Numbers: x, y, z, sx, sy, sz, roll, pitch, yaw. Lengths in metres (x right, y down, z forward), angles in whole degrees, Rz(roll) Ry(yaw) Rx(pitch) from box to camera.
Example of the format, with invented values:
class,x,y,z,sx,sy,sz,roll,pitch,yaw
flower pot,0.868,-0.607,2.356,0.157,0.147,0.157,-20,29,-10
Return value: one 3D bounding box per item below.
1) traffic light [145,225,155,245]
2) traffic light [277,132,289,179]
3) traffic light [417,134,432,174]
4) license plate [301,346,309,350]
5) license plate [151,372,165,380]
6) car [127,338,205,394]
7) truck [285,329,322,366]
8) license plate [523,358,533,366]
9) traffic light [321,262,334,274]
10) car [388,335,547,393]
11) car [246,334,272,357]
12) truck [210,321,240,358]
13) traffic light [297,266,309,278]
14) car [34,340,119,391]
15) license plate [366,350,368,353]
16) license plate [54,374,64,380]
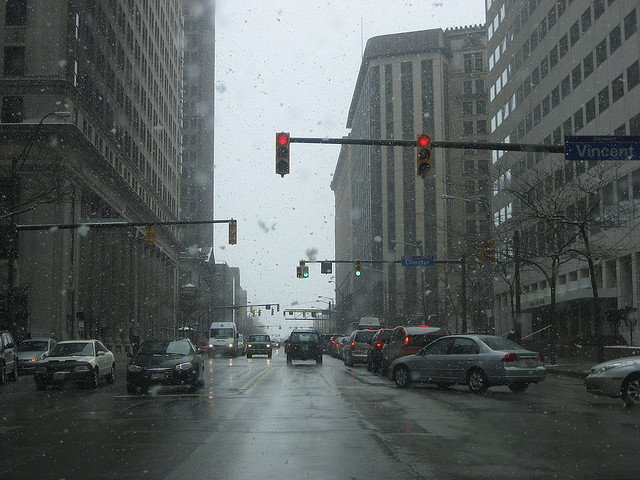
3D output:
class,x,y,z,sx,sy,sz,roll,pitch,yaw
traffic light,-8.760,-0.299,44.098,0.378,0.966,2.028,0,-13,-7
traffic light,-1.185,-2.696,27.442,0.394,1.773,0.427,0,-32,-2
traffic light,3.360,-2.757,27.413,0.424,1.293,0.321,-2,-10,8
license plate,-0.827,6.175,48.824,0.354,0.188,0.085,1,-10,-9
license plate,-5.475,4.634,29.081,0.400,0.233,0.041,1,-10,-11
car,-5.475,4.390,30.215,2.744,2.107,2.237,6,-14,-30
truck,-0.988,6.179,50.634,2.271,2.450,4.211,0,-5,1
license plate,6.886,4.051,28.332,0.227,0.268,0.061,0,2,0
traffic light,0.564,1.889,56.450,0.662,0.745,0.617,6,-11,-39
car,4.985,4.273,29.354,5.016,1.985,0.991,-11,-14,36
car,-4.656,8.134,66.004,1.801,2.011,3.665,0,-13,-6
truck,-7.880,8.165,70.762,1.473,2.030,3.418,-1,-11,-2
traffic light,-1.051,1.973,51.668,0.527,0.650,0.555,1,2,7
car,-9.501,4.855,33.325,2.266,2.127,2.871,-1,-12,0
license plate,2.548,5.987,45.927,0.123,0.282,0.140,0,-5,6
license plate,-9.695,5.114,31.909,0.204,0.237,0.051,-2,2,-11
